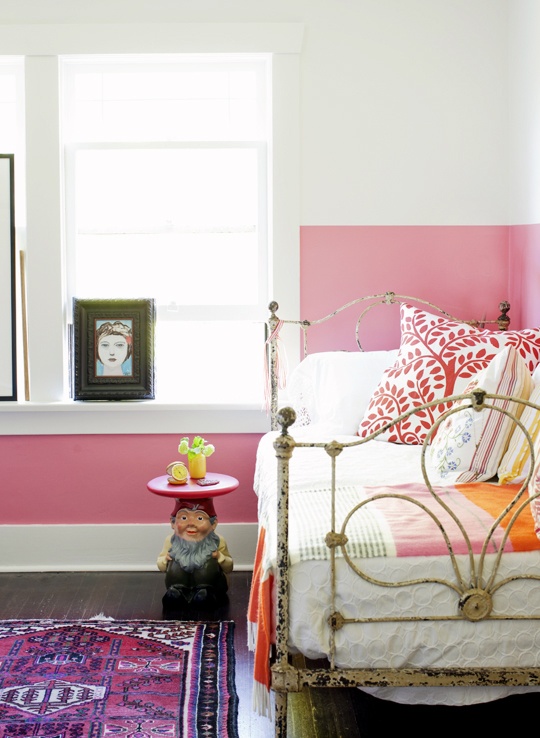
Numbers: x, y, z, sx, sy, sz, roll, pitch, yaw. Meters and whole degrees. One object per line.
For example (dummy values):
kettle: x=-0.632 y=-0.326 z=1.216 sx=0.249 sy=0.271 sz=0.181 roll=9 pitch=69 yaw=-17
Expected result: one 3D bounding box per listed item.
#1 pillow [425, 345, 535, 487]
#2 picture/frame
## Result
pillow: x=0.520 y=0.144 z=1.847 sx=0.115 sy=0.345 sz=0.340 roll=26 pitch=-31 yaw=-11
picture/frame: x=-0.617 y=-0.074 z=2.917 sx=0.492 sy=0.519 sz=0.061 roll=0 pitch=-2 yaw=-4
